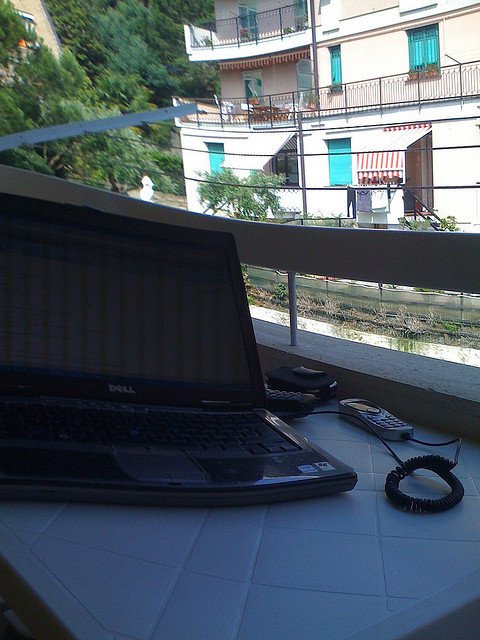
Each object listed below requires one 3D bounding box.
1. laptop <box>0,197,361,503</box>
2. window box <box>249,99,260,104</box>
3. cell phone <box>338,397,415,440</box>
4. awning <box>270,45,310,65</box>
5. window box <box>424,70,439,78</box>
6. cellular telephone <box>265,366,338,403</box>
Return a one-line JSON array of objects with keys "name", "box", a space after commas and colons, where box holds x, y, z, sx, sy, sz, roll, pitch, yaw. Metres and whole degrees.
[{"name": "laptop", "box": [-0.085, 0.033, 0.515, 0.327, 0.207, 0.268, 3, -2, -14]}, {"name": "window box", "box": [0.186, -2.801, 6.733, 0.133, 0.074, 0.096, 3, 13, -4]}, {"name": "cell phone", "box": [0.141, 0.102, 0.547, 0.032, 0.013, 0.076, -6, 19, -25]}, {"name": "awning", "box": [0.658, -3.735, 7.361, 0.673, 0.160, 0.381, 10, 14, 27]}, {"name": "window box", "box": [2.499, -3.211, 6.856, 0.188, 0.101, 0.073, 8, 14, 17]}, {"name": "cellular telephone", "box": [0.074, 0.075, 0.641, 0.075, 0.026, 0.043, 11, 17, 44]}]
